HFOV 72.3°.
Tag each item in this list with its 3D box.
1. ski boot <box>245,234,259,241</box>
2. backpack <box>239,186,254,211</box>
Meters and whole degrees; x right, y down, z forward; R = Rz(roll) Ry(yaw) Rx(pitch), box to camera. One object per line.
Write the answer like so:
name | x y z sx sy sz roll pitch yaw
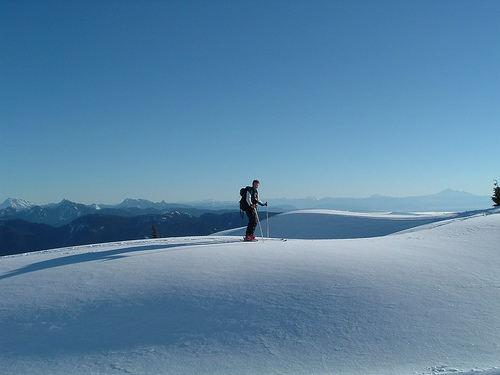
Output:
ski boot | 0.031 2.325 15.707 0.463 0.254 0.262 0 -8 8
backpack | -0.187 0.526 15.803 0.633 1.091 0.445 -5 -6 2
